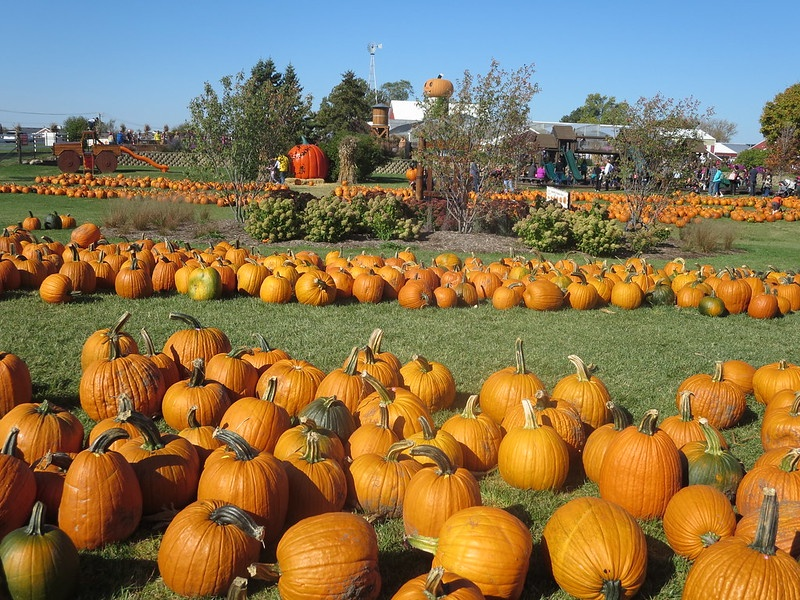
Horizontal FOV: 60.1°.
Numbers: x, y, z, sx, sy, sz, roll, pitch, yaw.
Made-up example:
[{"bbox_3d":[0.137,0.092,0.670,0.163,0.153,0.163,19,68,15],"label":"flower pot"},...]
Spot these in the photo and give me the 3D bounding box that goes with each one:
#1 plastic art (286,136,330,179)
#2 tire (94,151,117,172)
[{"bbox_3d":[-4.290,-6.383,32.351,1.658,2.783,1.895,-2,18,1],"label":"plastic art"},{"bbox_3d":[-13.301,-6.284,31.288,0.730,0.952,0.336,5,3,-40],"label":"tire"}]
